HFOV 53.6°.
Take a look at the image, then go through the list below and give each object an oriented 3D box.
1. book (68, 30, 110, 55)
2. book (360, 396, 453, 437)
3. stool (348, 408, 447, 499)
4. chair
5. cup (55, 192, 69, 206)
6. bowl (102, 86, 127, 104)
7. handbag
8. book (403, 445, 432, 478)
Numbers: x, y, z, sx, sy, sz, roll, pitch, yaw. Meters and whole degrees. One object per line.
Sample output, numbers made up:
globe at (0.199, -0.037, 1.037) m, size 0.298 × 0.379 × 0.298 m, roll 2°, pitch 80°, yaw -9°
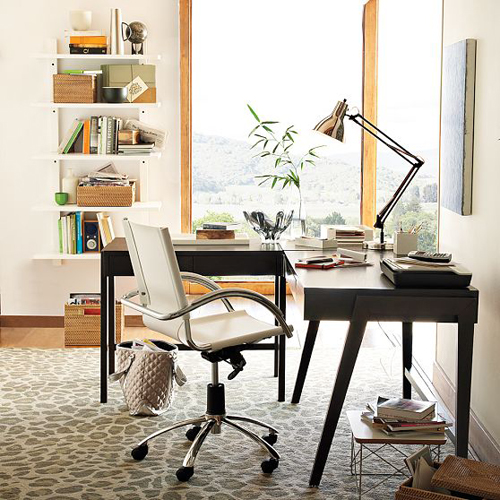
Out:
book at (-1.223, -1.528, 3.706) m, size 0.219 × 0.104 × 0.216 m, roll -3°, pitch 14°, yaw -17°
book at (0.519, 0.523, 1.619) m, size 0.187 × 0.050 × 0.152 m, roll -1°, pitch 7°, yaw -6°
stool at (0.477, 0.688, 1.727) m, size 0.307 × 0.233 × 0.319 m, roll -1°, pitch -1°, yaw -4°
chair at (-0.209, 0.282, 2.339) m, size 0.868 × 1.286 × 0.859 m, roll -2°, pitch 5°, yaw -23°
cup at (-1.395, -0.385, 3.702) m, size 0.105 × 0.082 × 0.096 m, roll -1°, pitch 4°, yaw 0°
bowl at (-1.012, -1.142, 3.687) m, size 0.190 × 0.122 × 0.227 m, roll -1°, pitch 5°, yaw -15°
handbag at (-0.476, 0.608, 2.375) m, size 0.351 × 0.290 × 0.310 m, roll -3°, pitch 4°, yaw -33°
book at (0.482, 0.609, 1.416) m, size 0.057 × 0.058 × 0.152 m, roll 3°, pitch 5°, yaw 31°
